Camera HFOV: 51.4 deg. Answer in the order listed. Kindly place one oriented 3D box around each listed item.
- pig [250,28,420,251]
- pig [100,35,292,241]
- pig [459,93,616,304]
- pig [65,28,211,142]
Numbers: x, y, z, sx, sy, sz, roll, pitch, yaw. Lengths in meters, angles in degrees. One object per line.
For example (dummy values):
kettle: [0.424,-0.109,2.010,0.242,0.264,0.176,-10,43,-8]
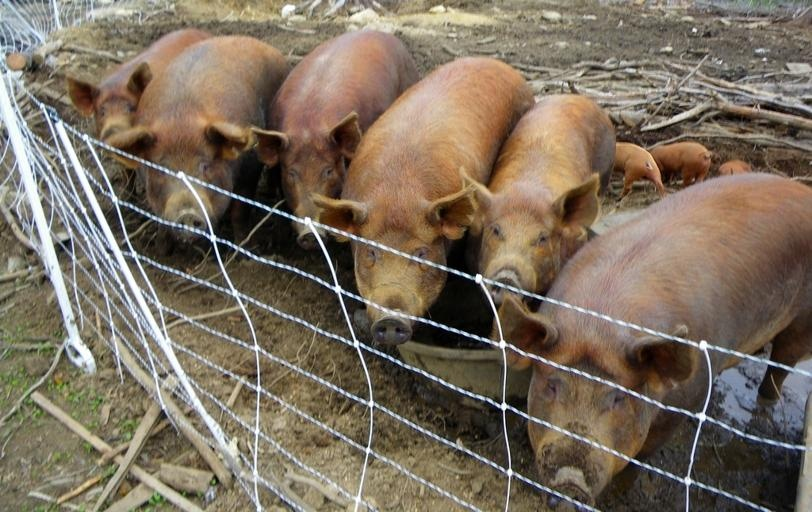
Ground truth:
pig: [-0.561,-1.189,7.194,0.822,1.282,2.139,4,57,29]
pig: [-1.602,-1.055,7.135,0.846,1.221,2.089,7,52,7]
pig: [1.095,-0.525,6.670,0.740,1.138,2.142,13,49,23]
pig: [-2.311,-1.429,7.211,0.533,0.760,1.502,5,50,36]
